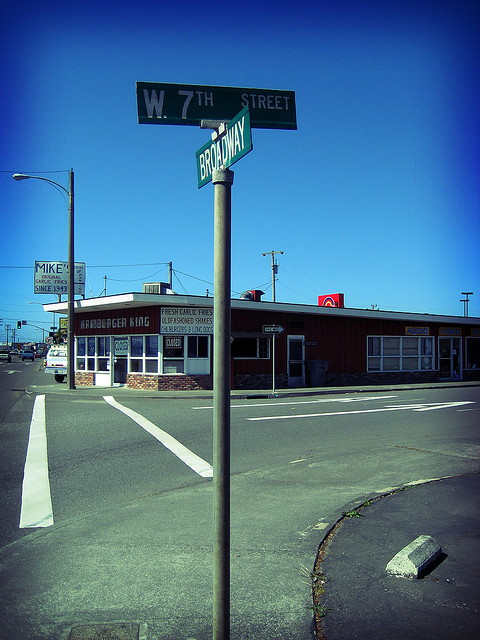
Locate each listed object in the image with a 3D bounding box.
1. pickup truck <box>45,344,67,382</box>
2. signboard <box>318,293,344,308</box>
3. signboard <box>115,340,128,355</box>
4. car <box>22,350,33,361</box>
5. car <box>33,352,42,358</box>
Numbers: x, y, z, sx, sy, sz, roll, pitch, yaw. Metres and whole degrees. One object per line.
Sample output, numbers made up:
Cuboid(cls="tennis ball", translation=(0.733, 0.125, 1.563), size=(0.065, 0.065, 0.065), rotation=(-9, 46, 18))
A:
Cuboid(cls="pickup truck", translation=(-8.245, 1.868, 30.653), size=(0.799, 1.063, 1.751), rotation=(0, 3, -8))
Cuboid(cls="signboard", translation=(4.179, -0.919, 31.517), size=(1.358, 0.580, 0.891), rotation=(-3, -2, 35))
Cuboid(cls="signboard", translation=(-4.754, 1.040, 26.983), size=(0.042, 0.428, 1.045), rotation=(-1, -2, -37))
Cuboid(cls="car", translation=(-26.037, 4.219, 82.959), size=(1.182, 0.838, 1.737), rotation=(-1, -1, -20))
Cuboid(cls="car", translation=(-35.398, 5.908, 118.172), size=(1.620, 1.060, 2.940), rotation=(1, -6, -15))
